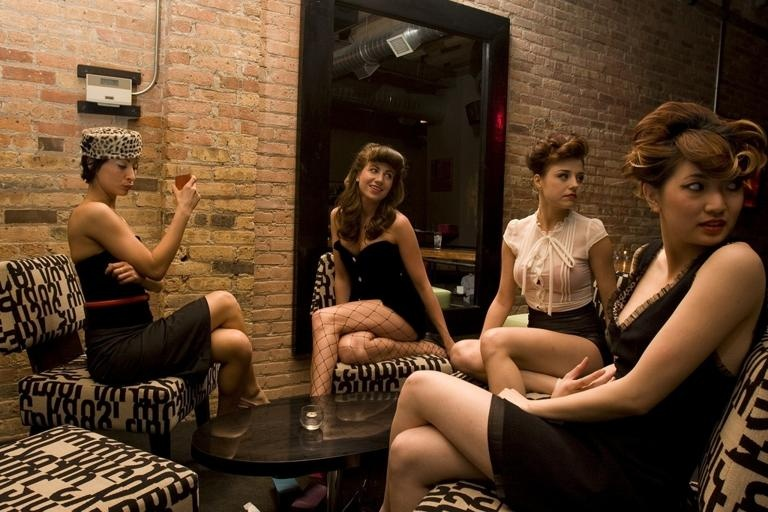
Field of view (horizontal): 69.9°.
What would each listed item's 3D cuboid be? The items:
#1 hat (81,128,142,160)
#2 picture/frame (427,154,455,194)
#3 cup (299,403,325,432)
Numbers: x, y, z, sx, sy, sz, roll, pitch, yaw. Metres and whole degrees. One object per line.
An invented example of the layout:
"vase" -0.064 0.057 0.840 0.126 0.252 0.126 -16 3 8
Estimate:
"hat" -1.506 -0.615 2.977 0.232 0.111 0.227 9 12 27
"picture/frame" 0.457 -0.689 4.603 0.356 0.372 0.053 6 -10 -42
"cup" -0.337 0.732 2.516 0.107 0.084 0.102 0 4 0
